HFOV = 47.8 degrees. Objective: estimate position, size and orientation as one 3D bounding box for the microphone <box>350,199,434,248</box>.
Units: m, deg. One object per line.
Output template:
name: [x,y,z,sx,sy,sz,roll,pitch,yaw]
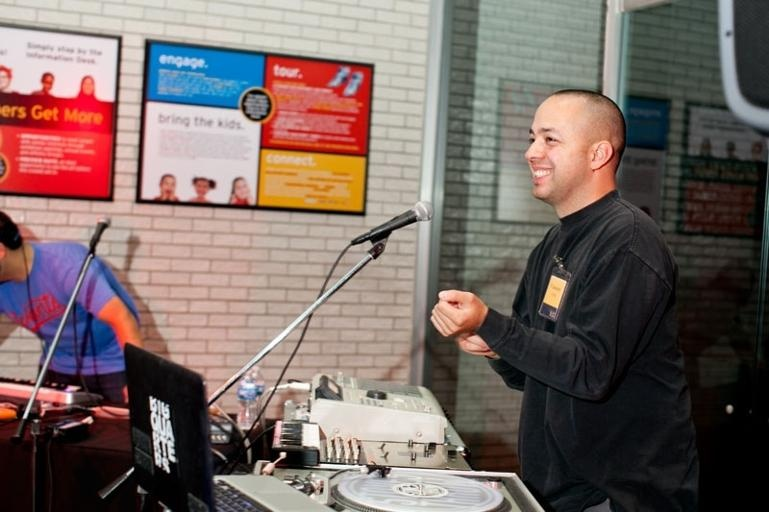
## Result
microphone: [0.026,-0.212,5.351,0.511,0.164,0.157,-25,26,17]
